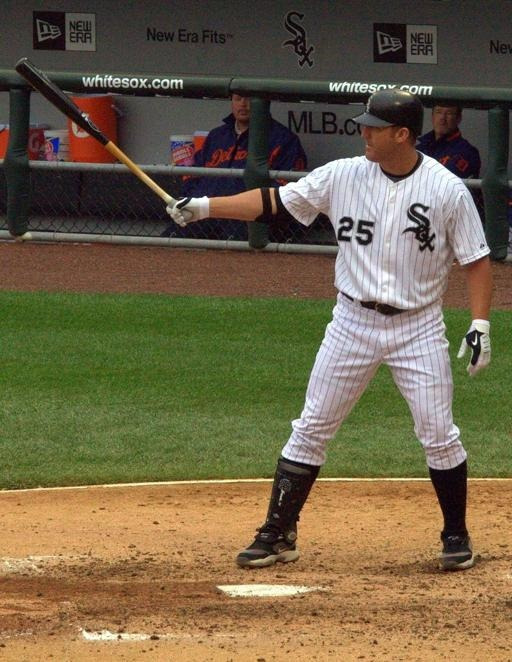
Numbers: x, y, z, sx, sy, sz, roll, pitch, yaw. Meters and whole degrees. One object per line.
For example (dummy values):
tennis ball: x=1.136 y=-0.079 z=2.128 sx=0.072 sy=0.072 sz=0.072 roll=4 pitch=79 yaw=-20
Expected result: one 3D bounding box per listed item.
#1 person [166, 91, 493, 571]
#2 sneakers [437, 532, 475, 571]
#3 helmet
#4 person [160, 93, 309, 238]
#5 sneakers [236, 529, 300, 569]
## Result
person: x=0.289 y=0.022 z=2.807 sx=0.764 sy=1.399 sz=0.237 roll=0 pitch=8 yaw=10
sneakers: x=0.586 y=0.655 z=2.817 sx=0.062 sy=0.059 sz=0.148 roll=0 pitch=3 yaw=15
helmet: x=0.375 y=-0.617 z=2.708 sx=0.190 sy=0.152 sz=0.182 roll=0 pitch=7 yaw=6
person: x=-0.100 y=-0.973 z=5.775 sx=1.014 sy=0.455 sz=1.200 roll=1 pitch=36 yaw=11
sneakers: x=0.041 y=0.658 z=2.901 sx=0.243 sy=0.131 sz=0.080 roll=1 pitch=-2 yaw=-25
